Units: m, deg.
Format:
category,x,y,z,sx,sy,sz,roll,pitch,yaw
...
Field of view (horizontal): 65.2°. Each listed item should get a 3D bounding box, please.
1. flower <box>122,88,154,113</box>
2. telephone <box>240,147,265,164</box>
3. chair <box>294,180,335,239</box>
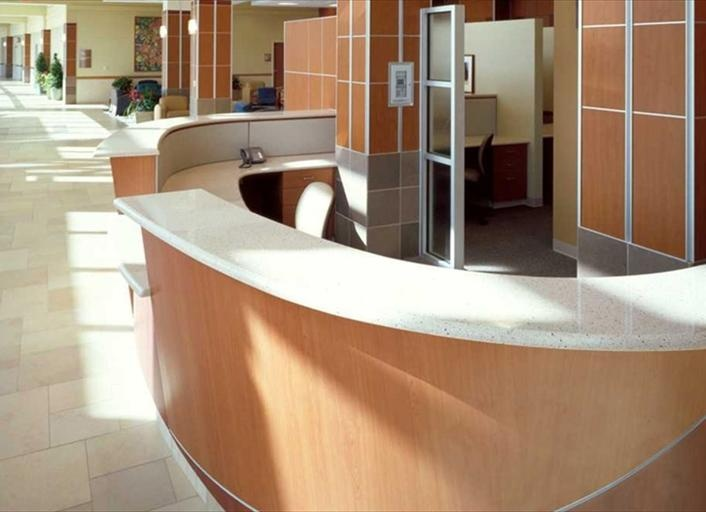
category,x,y,z,sx,sy,sz,roll,pitch,yaw
flower,-7.052,-5.085,18.119,1.065,0.882,1.061,3,18,-8
telephone,-1.160,-1.167,6.384,0.263,0.203,0.196,-9,21,-40
chair,-0.258,-0.329,3.799,0.217,0.332,0.481,-3,14,-13
